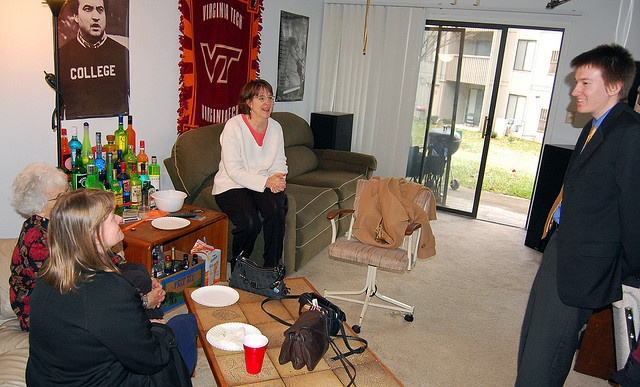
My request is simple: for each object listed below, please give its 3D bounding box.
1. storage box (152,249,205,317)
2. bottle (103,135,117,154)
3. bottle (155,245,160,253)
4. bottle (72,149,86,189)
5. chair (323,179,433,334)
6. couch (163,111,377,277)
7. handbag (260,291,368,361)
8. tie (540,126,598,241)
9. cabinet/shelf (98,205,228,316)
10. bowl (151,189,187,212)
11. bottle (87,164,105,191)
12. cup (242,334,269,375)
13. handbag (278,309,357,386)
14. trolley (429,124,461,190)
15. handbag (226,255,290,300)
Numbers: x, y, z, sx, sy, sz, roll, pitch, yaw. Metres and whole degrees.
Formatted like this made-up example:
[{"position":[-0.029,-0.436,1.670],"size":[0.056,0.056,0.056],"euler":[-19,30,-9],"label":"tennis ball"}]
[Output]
[{"position":[-1.216,0.729,3.868],"size":[0.440,0.367,0.573],"euler":[18,24,27],"label":"storage box"},{"position":[-1.925,-0.457,4.017],"size":[0.109,0.156,0.238],"euler":[0,14,-7],"label":"bottle"},{"position":[-1.428,0.480,3.853],"size":[0.015,0.053,0.057],"euler":[-6,-8,34],"label":"bottle"},{"position":[-2.080,-0.217,3.782],"size":[0.120,0.323,0.176],"euler":[-7,17,-28],"label":"bottle"},{"position":[0.529,0.516,4.234],"size":[0.849,1.230,0.852],"euler":[11,13,36],"label":"chair"},{"position":[-0.350,-0.151,5.515],"size":[1.470,1.510,2.686],"euler":[10,20,29],"label":"couch"},{"position":[0.046,0.897,3.175],"size":[0.594,0.204,0.430],"euler":[16,12,15],"label":"handbag"},{"position":[2.060,-0.070,3.699],"size":[0.133,1.503,0.164],"euler":[14,4,40],"label":"tie"},{"position":[-1.419,0.386,4.072],"size":[0.710,0.818,1.032],"euler":[14,22,31],"label":"cabinet/shelf"},{"position":[-1.395,0.057,4.098],"size":[0.226,0.104,0.218],"euler":[2,10,0],"label":"bowl"},{"position":[-1.950,-0.155,3.793],"size":[0.122,0.206,0.160],"euler":[8,16,24],"label":"bottle"},{"position":[-0.416,1.026,2.869],"size":[0.172,0.221,0.168],"euler":[2,14,0],"label":"cup"},{"position":[-0.027,1.003,2.941],"size":[0.437,0.216,0.377],"euler":[13,18,17],"label":"handbag"},{"position":[1.873,-0.521,6.813],"size":[0.600,0.890,0.574],"euler":[10,18,22],"label":"trolley"},{"position":[-0.493,0.667,3.446],"size":[0.547,0.326,0.252],"euler":[15,10,18],"label":"handbag"}]
